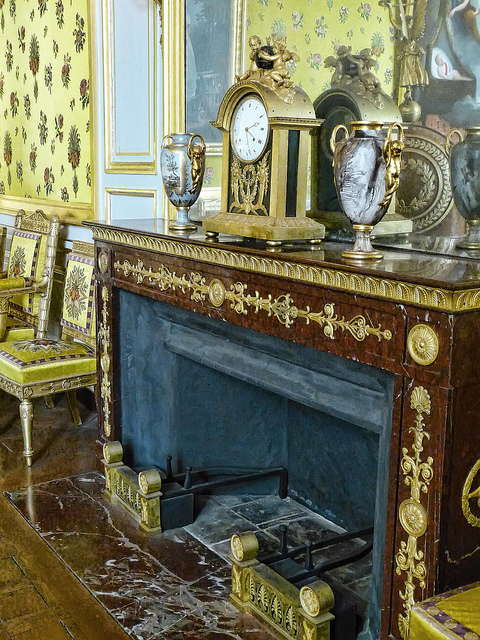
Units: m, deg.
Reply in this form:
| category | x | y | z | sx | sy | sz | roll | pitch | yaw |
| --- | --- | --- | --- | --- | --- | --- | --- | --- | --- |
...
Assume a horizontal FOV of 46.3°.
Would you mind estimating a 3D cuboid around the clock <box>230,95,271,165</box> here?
| category | x | y | z | sx | sy | sz | roll | pitch | yaw |
| --- | --- | --- | --- | --- | --- | --- | --- | --- | --- |
| clock | 0.026 | -0.419 | 1.225 | 0.008 | 0.150 | 0.142 | -3 | 14 | -23 |

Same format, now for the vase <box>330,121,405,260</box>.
| category | x | y | z | sx | sy | sz | roll | pitch | yaw |
| --- | --- | --- | --- | --- | --- | --- | --- | --- | --- |
| vase | 0.209 | -0.212 | 0.897 | 0.079 | 0.230 | 0.163 | -1 | 7 | -29 |

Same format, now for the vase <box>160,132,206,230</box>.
| category | x | y | z | sx | sy | sz | roll | pitch | yaw |
| --- | --- | --- | --- | --- | --- | --- | --- | --- | --- |
| vase | -0.160 | -0.388 | 1.556 | 0.121 | 0.278 | 0.198 | 1 | 6 | -5 |
